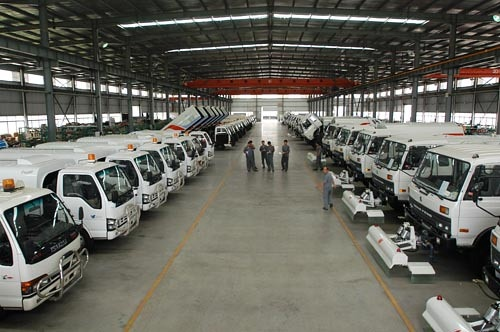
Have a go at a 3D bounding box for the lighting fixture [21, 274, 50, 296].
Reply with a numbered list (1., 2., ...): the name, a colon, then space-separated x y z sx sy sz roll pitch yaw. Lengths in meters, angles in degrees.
1. lighting fixture: -5.362 2.973 9.081 0.252 0.375 0.392 2 -4 8
